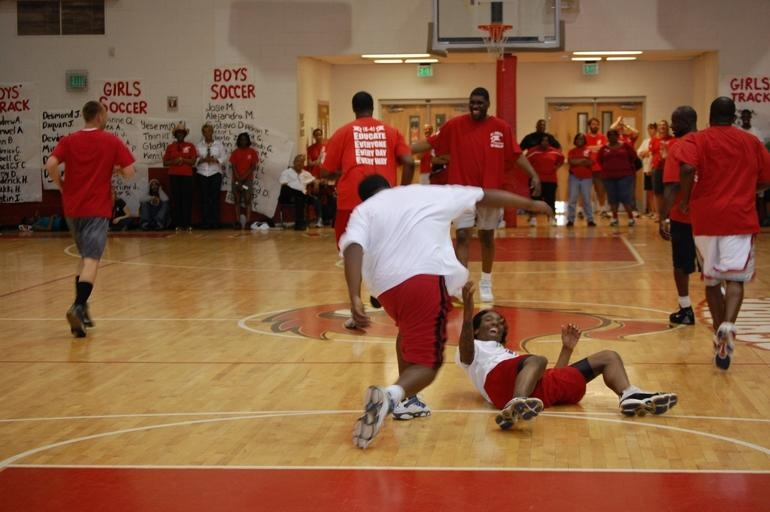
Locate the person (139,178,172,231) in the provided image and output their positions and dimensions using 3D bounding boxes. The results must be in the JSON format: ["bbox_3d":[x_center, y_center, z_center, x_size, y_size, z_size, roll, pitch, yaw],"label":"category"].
[{"bbox_3d":[-5.896,-1.216,15.954,0.830,1.476,1.209,0,1,-7],"label":"person"}]

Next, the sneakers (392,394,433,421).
[{"bbox_3d":[0.168,1.013,4.200,0.336,0.168,0.130,-2,4,-32],"label":"sneakers"}]

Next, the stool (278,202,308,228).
[{"bbox_3d":[-2.413,-1.062,16.197,0.820,0.791,0.641,-1,-4,2],"label":"stool"}]

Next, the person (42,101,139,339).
[{"bbox_3d":[-3.069,-0.427,6.604,0.802,2.376,0.953,-3,11,-29],"label":"person"}]

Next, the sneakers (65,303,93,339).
[{"bbox_3d":[-3.147,0.682,6.439,0.107,0.306,0.221,-10,33,-7],"label":"sneakers"}]

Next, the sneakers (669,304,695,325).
[{"bbox_3d":[3.032,0.608,6.472,0.259,0.193,0.146,6,5,17],"label":"sneakers"}]

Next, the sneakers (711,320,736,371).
[{"bbox_3d":[2.595,0.670,4.871,0.137,0.418,0.191,4,11,16],"label":"sneakers"}]

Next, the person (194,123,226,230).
[{"bbox_3d":[-4.437,-2.017,15.989,0.720,2.610,0.445,-1,10,-18],"label":"person"}]

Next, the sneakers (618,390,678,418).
[{"bbox_3d":[1.669,0.933,4.068,0.374,0.155,0.177,-3,38,7],"label":"sneakers"}]

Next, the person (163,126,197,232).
[{"bbox_3d":[-5.173,-2.040,15.937,0.819,2.669,0.783,2,10,1],"label":"person"}]

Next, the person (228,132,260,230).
[{"bbox_3d":[-3.622,-1.854,16.110,0.736,2.207,0.517,-1,10,-15],"label":"person"}]

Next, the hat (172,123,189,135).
[{"bbox_3d":[-5.176,-3.244,15.872,0.303,0.179,0.434,2,-10,-13],"label":"hat"}]

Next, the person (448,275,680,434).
[{"bbox_3d":[1.062,0.635,3.985,1.401,1.014,1.090,-16,-25,37],"label":"person"}]
